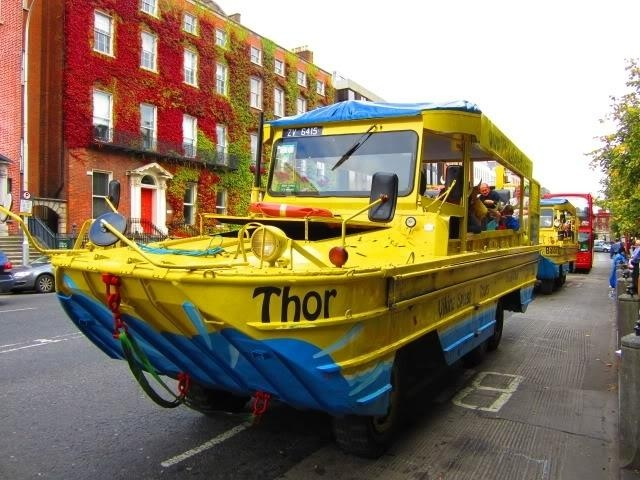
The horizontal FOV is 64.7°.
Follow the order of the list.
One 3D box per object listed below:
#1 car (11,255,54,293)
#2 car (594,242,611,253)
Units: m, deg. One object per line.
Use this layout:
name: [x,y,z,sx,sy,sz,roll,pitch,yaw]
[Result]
car: [-8.695,1.083,15.376,0.939,0.973,1.940,-3,-9,22]
car: [44.424,1.189,79.718,2.399,1.346,1.459,-6,-3,26]
